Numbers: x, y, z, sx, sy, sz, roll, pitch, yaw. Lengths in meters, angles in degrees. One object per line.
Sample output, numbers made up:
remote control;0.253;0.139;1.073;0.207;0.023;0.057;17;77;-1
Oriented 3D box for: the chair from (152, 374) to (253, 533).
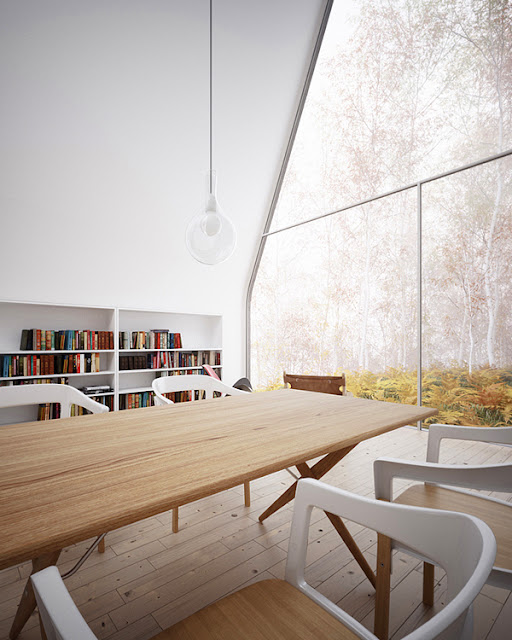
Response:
chair;-0.288;0.662;2.702;0.764;1.074;0.678;-1;-1;-32
